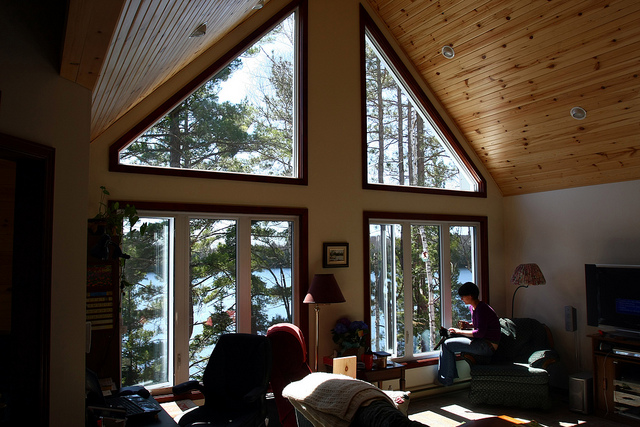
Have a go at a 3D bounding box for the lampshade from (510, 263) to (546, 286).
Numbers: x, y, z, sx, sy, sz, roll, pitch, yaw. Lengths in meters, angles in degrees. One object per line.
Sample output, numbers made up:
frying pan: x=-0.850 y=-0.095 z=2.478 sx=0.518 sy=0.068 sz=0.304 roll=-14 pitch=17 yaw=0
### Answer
lampshade: x=2.972 y=0.901 z=6.593 sx=0.351 sy=0.204 sz=0.352 roll=1 pitch=-12 yaw=1

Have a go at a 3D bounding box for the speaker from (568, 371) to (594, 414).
speaker: x=3.418 y=2.344 z=6.032 sx=0.315 sy=0.464 sz=0.254 roll=-3 pitch=-8 yaw=17

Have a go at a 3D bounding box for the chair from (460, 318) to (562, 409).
chair: x=2.684 y=2.035 z=6.260 sx=1.344 sy=1.133 sz=0.688 roll=2 pitch=-8 yaw=-19

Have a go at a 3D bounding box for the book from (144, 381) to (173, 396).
book: x=-1.811 y=1.966 z=5.179 sx=0.286 sy=0.133 sz=0.067 roll=3 pitch=-9 yaw=-26

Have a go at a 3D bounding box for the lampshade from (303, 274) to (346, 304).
lampshade: x=0.055 y=0.916 z=5.503 sx=0.392 sy=0.240 sz=0.363 roll=-9 pitch=-9 yaw=24

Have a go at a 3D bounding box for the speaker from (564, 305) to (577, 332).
speaker: x=3.536 y=1.490 z=6.512 sx=0.166 sy=0.376 sz=0.194 roll=-7 pitch=-10 yaw=39

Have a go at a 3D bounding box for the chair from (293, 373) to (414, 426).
chair: x=0.202 y=1.326 z=3.199 sx=0.980 sy=0.306 sz=0.289 roll=-8 pitch=-11 yaw=43

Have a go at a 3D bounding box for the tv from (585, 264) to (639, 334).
tv: x=3.750 y=1.080 z=5.904 sx=0.074 sy=0.858 sz=0.656 roll=4 pitch=-9 yaw=-34
